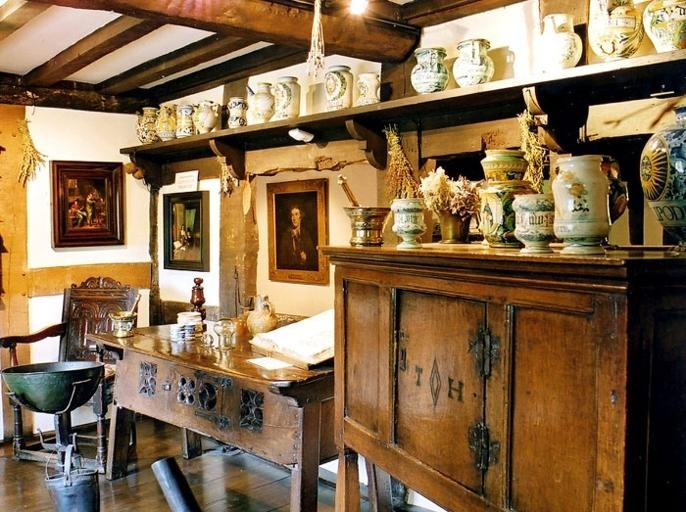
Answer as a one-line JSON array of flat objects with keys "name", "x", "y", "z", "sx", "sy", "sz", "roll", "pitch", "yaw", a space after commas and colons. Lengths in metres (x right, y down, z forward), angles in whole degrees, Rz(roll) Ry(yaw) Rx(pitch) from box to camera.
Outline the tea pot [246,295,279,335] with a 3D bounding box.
[{"name": "tea pot", "x": -0.578, "y": 0.421, "z": 4.020, "sx": 0.261, "sy": 0.286, "sz": 0.230, "roll": 7, "pitch": 12, "yaw": 39}]

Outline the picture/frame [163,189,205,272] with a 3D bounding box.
[{"name": "picture/frame", "x": -1.645, "y": -0.287, "z": 5.789, "sx": 0.901, "sy": 0.915, "sz": 0.072, "roll": 2, "pitch": 1, "yaw": 41}]

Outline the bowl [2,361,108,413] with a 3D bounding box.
[{"name": "bowl", "x": -1.973, "y": 0.831, "z": 3.650, "sx": 0.472, "sy": 0.210, "sz": 0.465, "roll": 1, "pitch": -3, "yaw": 0}]

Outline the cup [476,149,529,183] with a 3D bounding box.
[{"name": "cup", "x": 0.691, "y": -0.378, "z": 2.357, "sx": 0.200, "sy": 0.144, "sz": 0.209, "roll": -1, "pitch": 4, "yaw": 0}]

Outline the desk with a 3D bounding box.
[{"name": "desk", "x": -0.866, "y": 1.043, "z": 3.655, "sx": 1.586, "sy": 0.760, "sz": 0.763, "roll": 2, "pitch": 3, "yaw": 40}]

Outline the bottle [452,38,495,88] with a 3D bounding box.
[{"name": "bottle", "x": 0.720, "y": -1.066, "z": 3.041, "sx": 0.211, "sy": 0.218, "sz": 0.179, "roll": -2, "pitch": 1, "yaw": 11}]

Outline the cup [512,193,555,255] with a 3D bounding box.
[{"name": "cup", "x": 0.679, "y": -0.121, "z": 1.948, "sx": 0.155, "sy": 0.201, "sz": 0.152, "roll": -1, "pitch": 5, "yaw": 0}]

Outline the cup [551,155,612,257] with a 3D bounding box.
[{"name": "cup", "x": 0.779, "y": -0.172, "z": 1.811, "sx": 0.189, "sy": 0.298, "sz": 0.188, "roll": -3, "pitch": 4, "yaw": 0}]

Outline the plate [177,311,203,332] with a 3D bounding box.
[{"name": "plate", "x": -1.138, "y": 0.462, "z": 4.114, "sx": 0.160, "sy": 0.114, "sz": 0.156, "roll": 0, "pitch": 1, "yaw": -15}]

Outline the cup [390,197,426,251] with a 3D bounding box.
[{"name": "cup", "x": 0.288, "y": -0.151, "z": 2.402, "sx": 0.159, "sy": 0.209, "sz": 0.156, "roll": 1, "pitch": 4, "yaw": 0}]

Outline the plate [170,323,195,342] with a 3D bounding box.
[{"name": "plate", "x": -1.180, "y": 0.549, "z": 4.039, "sx": 0.136, "sy": 0.091, "sz": 0.135, "roll": -4, "pitch": -6, "yaw": 26}]
